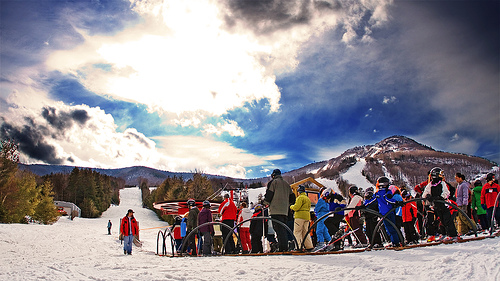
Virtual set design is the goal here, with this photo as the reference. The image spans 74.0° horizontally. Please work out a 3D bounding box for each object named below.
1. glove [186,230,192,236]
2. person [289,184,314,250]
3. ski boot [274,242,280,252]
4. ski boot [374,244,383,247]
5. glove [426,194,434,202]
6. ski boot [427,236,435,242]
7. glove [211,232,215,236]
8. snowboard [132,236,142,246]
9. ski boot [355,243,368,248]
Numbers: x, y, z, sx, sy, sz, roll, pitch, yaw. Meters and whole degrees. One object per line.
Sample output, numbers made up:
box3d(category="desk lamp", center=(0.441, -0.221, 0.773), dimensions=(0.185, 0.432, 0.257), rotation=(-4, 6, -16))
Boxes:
box3d(category="glove", center=(-3.513, 5.270, 18.966), dimensions=(0.269, 0.366, 1.175), rotation=(4, -22, -15))
box3d(category="person", center=(2.589, 3.739, 16.694), dimensions=(0.989, 3.300, 1.345), rotation=(-6, -21, 10))
box3d(category="ski boot", center=(1.395, 5.636, 17.602), dimensions=(0.287, 0.466, 0.150), rotation=(-6, -7, 28))
box3d(category="ski boot", center=(6.266, 5.078, 16.129), dimensions=(0.582, 0.127, 0.179), rotation=(15, -27, -36))
box3d(category="glove", center=(8.289, 2.557, 15.254), dimensions=(0.270, 0.349, 0.596), rotation=(-20, -28, 39))
box3d(category="ski boot", center=(9.038, 4.859, 16.485), dimensions=(0.606, 0.314, 0.297), rotation=(18, -28, -41))
box3d(category="glove", center=(-2.084, 5.164, 18.504), dimensions=(0.160, 0.193, 0.276), rotation=(0, -21, -5))
box3d(category="snowboard", center=(-7.692, 6.827, 22.505), dimensions=(0.487, 0.169, 0.491), rotation=(38, -17, 6))
box3d(category="ski boot", center=(5.653, 5.264, 16.736), dimensions=(0.612, 0.229, 0.288), rotation=(-9, -22, 18))
